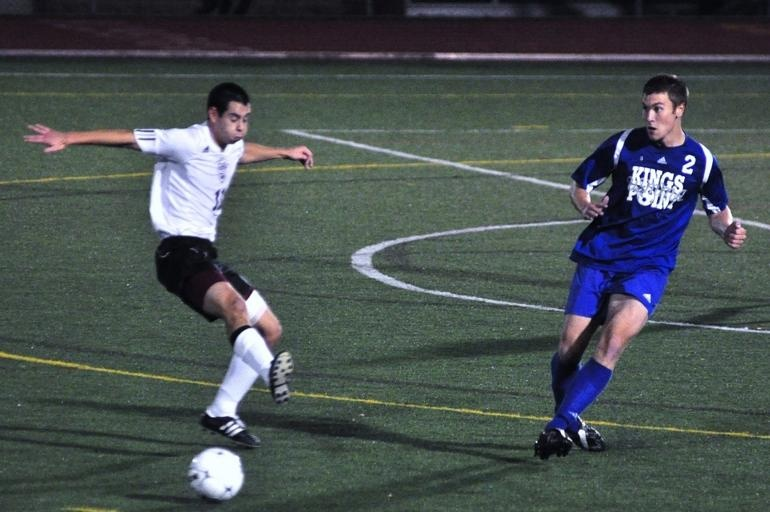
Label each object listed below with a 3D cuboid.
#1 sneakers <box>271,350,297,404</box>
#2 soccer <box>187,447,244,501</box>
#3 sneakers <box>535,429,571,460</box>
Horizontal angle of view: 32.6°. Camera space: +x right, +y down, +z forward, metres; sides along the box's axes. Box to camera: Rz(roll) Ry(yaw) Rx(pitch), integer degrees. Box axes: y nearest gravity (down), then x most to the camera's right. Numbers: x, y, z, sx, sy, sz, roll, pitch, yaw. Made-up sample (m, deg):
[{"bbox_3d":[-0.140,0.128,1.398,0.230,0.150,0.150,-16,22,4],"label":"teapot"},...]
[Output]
[{"bbox_3d":[-0.705,0.823,9.130,0.186,0.324,0.166,0,15,-27],"label":"sneakers"},{"bbox_3d":[-1.138,1.444,8.812,0.456,0.312,0.188,-4,-29,-9],"label":"soccer"},{"bbox_3d":[1.143,1.287,8.972,0.240,0.098,0.256,-5,6,-10],"label":"sneakers"}]
